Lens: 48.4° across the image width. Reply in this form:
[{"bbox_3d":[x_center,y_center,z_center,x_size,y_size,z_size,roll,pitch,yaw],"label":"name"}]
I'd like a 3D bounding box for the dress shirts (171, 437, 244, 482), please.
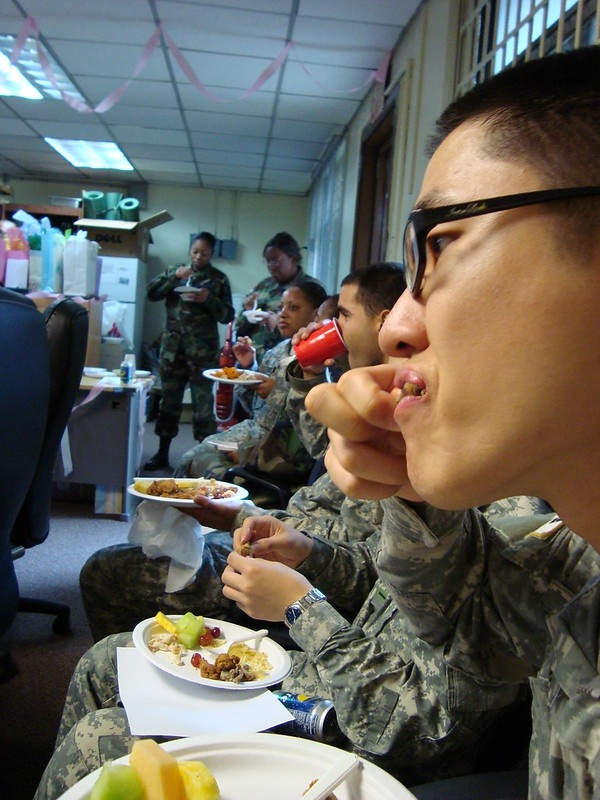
[{"bbox_3d":[-0.405,0.263,2.934,0.218,0.104,0.286,-3,1,35],"label":"dress shirts"}]

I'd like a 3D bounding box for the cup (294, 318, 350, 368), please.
[{"bbox_3d":[0.063,-0.139,1.686,0.159,0.118,0.123,-21,6,8],"label":"cup"}]

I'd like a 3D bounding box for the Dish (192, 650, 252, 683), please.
[{"bbox_3d":[-0.121,0.418,1.058,0.051,0.020,0.059,12,-12,-26],"label":"Dish"}]

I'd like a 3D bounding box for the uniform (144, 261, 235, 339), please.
[{"bbox_3d":[-0.881,-0.742,5.312,0.713,0.669,0.490,8,11,-3],"label":"uniform"}]

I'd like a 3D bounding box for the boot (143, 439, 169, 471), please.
[{"bbox_3d":[-0.928,0.391,4.533,0.128,0.217,0.254,2,-5,26],"label":"boot"}]

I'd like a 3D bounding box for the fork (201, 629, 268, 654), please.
[{"bbox_3d":[-0.118,0.431,1.188,0.024,0.024,0.153,-17,-5,32],"label":"fork"}]

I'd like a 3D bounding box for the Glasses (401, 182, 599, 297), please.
[{"bbox_3d":[0.113,-0.096,0.392,0.076,0.019,0.069,-4,-13,-1],"label":"Glasses"}]

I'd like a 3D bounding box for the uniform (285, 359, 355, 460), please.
[{"bbox_3d":[0.017,0.027,2.033,0.118,0.271,0.301,0,0,-35],"label":"uniform"}]
